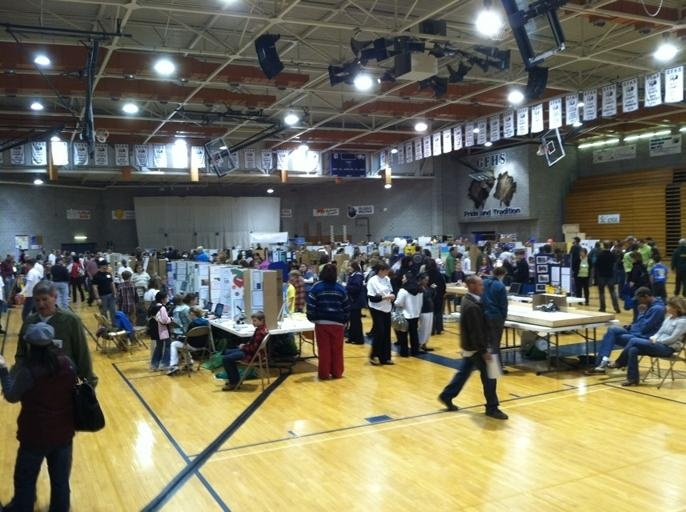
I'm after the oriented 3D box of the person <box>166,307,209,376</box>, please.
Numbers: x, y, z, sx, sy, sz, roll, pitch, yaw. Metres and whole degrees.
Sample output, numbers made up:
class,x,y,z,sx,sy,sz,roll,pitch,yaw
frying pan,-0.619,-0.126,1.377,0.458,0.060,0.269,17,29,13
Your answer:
class,x,y,z,sx,sy,sz,roll,pitch,yaw
person,-2.744,1.496,10.279,0.775,1.121,0.605,-5,12,-15

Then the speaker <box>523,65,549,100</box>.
class,x,y,z,sx,sy,sz,roll,pitch,yaw
speaker,4.249,-3.810,12.812,0.559,0.659,0.384,-11,14,-36

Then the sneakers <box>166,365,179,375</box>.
class,x,y,z,sx,sy,sz,roll,pitch,yaw
sneakers,-2.981,2.004,10.214,0.222,0.162,0.169,-8,12,-28

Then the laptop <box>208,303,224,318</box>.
class,x,y,z,sx,sy,sz,roll,pitch,yaw
laptop,-2.368,1.032,10.940,0.347,0.220,0.251,12,-14,38

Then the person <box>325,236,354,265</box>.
class,x,y,z,sx,sy,sz,roll,pitch,yaw
person,-0.005,-0.111,19.653,0.519,1.047,1.681,-1,-3,-12

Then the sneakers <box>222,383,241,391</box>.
class,x,y,z,sx,sy,sz,roll,pitch,yaw
sneakers,-1.783,2.094,9.290,0.279,0.106,0.105,6,-8,-12

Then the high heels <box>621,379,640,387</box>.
class,x,y,z,sx,sy,sz,roll,pitch,yaw
high heels,4.402,1.954,8.914,0.263,0.102,0.088,3,-7,3

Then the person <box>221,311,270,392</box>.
class,x,y,z,sx,sy,sz,roll,pitch,yaw
person,-1.587,1.557,9.445,0.702,1.239,0.476,7,0,-5

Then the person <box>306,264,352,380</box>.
class,x,y,z,sx,sy,sz,roll,pitch,yaw
person,-0.238,1.106,9.606,0.675,1.907,0.436,-12,15,-37

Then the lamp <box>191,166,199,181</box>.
class,x,y,z,sx,sy,sz,roll,pitch,yaw
lamp,-4.691,-2.556,18.432,0.194,0.451,1.690,-6,11,-15

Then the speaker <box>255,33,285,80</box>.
class,x,y,z,sx,sy,sz,roll,pitch,yaw
speaker,-1.529,-3.933,11.742,0.552,0.940,0.286,-17,-5,-21

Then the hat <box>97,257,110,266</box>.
class,x,y,z,sx,sy,sz,roll,pitch,yaw
hat,-6.073,0.151,14.707,0.214,0.252,0.258,-8,-9,15

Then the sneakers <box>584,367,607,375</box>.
class,x,y,z,sx,sy,sz,roll,pitch,yaw
sneakers,4.144,1.898,9.593,0.375,0.134,0.127,2,-7,6

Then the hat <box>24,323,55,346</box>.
class,x,y,z,sx,sy,sz,roll,pitch,yaw
hat,-2.828,0.732,5.402,0.220,0.200,0.232,-10,13,-36

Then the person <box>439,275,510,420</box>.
class,x,y,z,sx,sy,sz,roll,pitch,yaw
person,1.769,1.242,7.773,0.674,1.905,0.830,-11,14,-34

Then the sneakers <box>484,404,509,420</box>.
class,x,y,z,sx,sy,sz,roll,pitch,yaw
sneakers,2.061,2.092,7.775,0.125,0.123,0.327,0,-5,-22

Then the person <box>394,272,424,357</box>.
class,x,y,z,sx,sy,sz,roll,pitch,yaw
person,1.175,1.101,10.938,0.661,1.557,0.680,-4,10,-34

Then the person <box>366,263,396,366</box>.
class,x,y,z,sx,sy,sz,roll,pitch,yaw
person,0.675,1.040,10.499,0.465,1.874,0.579,-2,12,3

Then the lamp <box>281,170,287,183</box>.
class,x,y,z,sx,sy,sz,roll,pitch,yaw
lamp,-2.274,-3.055,22.414,0.165,0.419,0.468,-7,12,-19

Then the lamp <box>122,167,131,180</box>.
class,x,y,z,sx,sy,sz,roll,pitch,yaw
lamp,-7.637,-2.909,20.675,0.435,0.417,0.381,0,-7,-17
